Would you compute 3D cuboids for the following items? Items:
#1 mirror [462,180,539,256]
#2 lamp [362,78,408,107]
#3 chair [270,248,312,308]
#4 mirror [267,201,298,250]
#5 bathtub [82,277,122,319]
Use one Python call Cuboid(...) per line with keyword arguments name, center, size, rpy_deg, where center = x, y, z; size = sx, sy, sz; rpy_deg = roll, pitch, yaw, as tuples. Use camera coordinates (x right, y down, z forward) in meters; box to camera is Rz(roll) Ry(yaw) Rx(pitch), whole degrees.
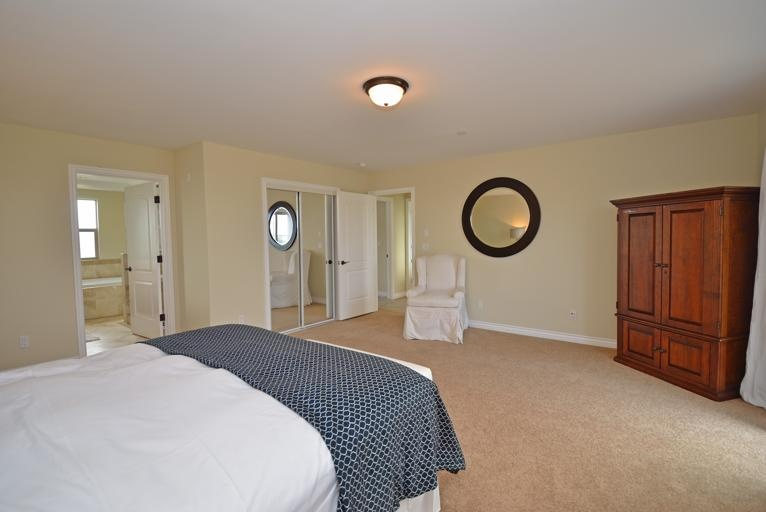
Cuboid(name="mirror", center=(1.642, -0.521, 6.644), size=(1.031, 1.048, 0.022), rpy_deg=(-5, -1, 30))
Cuboid(name="lamp", center=(0.011, -1.545, 4.524), size=(0.439, 0.222, 0.267), rpy_deg=(0, 6, -1))
Cuboid(name="chair", center=(-1.490, 0.421, 7.725), size=(0.837, 1.001, 0.772), rpy_deg=(3, -3, -41))
Cuboid(name="mirror", center=(-1.557, -0.446, 7.414), size=(0.387, 0.772, 0.129), rpy_deg=(0, 7, -5))
Cuboid(name="bathtub", center=(-4.762, 0.727, 8.100), size=(0.759, 0.470, 0.762), rpy_deg=(4, 5, 32))
